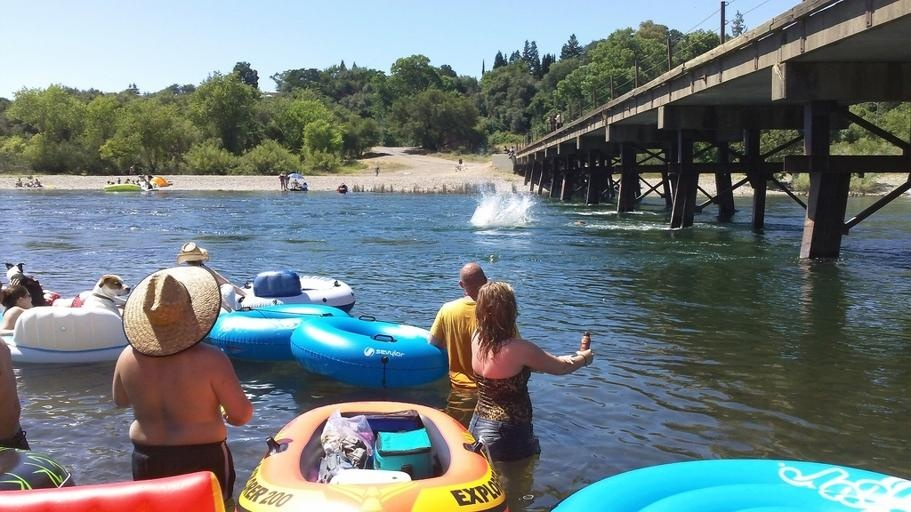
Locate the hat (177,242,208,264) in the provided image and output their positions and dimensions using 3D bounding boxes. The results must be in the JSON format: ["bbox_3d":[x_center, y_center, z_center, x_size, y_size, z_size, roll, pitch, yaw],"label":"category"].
[{"bbox_3d":[-5.384,-0.009,17.087,0.667,0.263,0.795,-3,3,-12],"label":"hat"}]

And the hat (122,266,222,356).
[{"bbox_3d":[-4.292,0.868,12.604,1.398,1.238,0.633,-4,10,-19],"label":"hat"}]

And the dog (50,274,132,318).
[{"bbox_3d":[-7.817,0.820,17.456,1.835,0.622,0.987,-2,1,-13],"label":"dog"}]

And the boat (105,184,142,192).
[{"bbox_3d":[-28.454,-5.779,71.246,3.487,0.542,2.301,5,10,35],"label":"boat"}]

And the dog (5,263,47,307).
[{"bbox_3d":[-9.773,0.696,18.920,0.293,0.567,1.126,-18,47,-41],"label":"dog"}]

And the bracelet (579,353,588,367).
[{"bbox_3d":[2.201,1.773,14.158,0.054,0.170,0.189,-12,-8,-40],"label":"bracelet"}]

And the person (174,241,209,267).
[{"bbox_3d":[-5.416,0.016,17.161,0.796,0.313,0.944,-2,1,-13],"label":"person"}]

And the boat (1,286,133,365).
[{"bbox_3d":[-7.964,1.463,17.301,2.227,0.660,1.611,0,6,-14],"label":"boat"}]

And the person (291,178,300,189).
[{"bbox_3d":[-14.280,-6.271,73.647,1.091,0.909,0.277,-7,-13,37],"label":"person"}]
